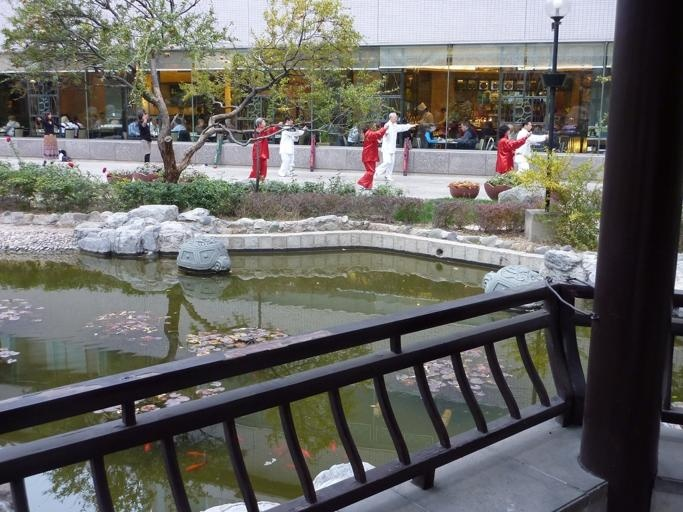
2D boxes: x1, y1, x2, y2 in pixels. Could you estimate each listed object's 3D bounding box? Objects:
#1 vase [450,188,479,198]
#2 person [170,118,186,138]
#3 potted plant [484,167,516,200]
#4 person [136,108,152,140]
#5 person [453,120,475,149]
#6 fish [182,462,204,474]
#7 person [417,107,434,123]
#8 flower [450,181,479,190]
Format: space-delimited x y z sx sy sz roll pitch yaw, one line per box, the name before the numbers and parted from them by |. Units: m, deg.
vase | 2.859 -1.461 13.326 0.375 0.250 0.384 3 3 40
person | -6.496 -5.057 22.683 0.548 0.842 2.128 -3 13 -16
potted plant | 3.623 -1.660 13.185 0.692 0.521 0.674 -2 14 6
person | -6.925 -4.536 20.018 0.389 1.017 1.664 -3 13 -19
person | 4.379 -4.260 20.153 0.426 0.921 0.668 -10 16 -42
fish | -1.025 1.470 3.970 0.146 0.010 0.080 -9 16 -39
person | 3.069 -5.216 20.863 0.579 0.817 0.464 2 12 4
flower | 2.898 -1.612 13.355 0.399 0.245 0.399 3 7 30
